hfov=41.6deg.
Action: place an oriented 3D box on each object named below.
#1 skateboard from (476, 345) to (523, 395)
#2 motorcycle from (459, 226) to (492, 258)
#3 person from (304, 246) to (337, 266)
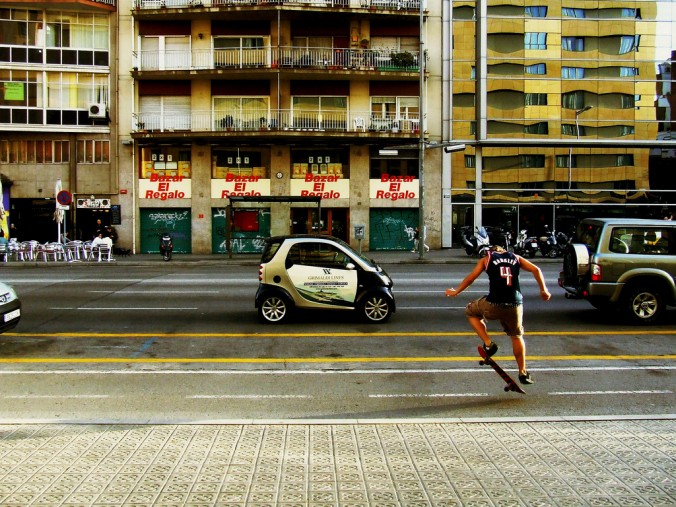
[{"bbox_3d":[3.528,2.559,19.438,0.274,0.446,1.770,-6,-39,44],"label":"skateboard"},{"bbox_3d":[6.427,-0.495,40.258,1.178,1.227,1.830,-1,2,-24],"label":"motorcycle"},{"bbox_3d":[-0.411,0.055,23.723,0.785,0.359,0.476,0,8,0],"label":"person"}]
